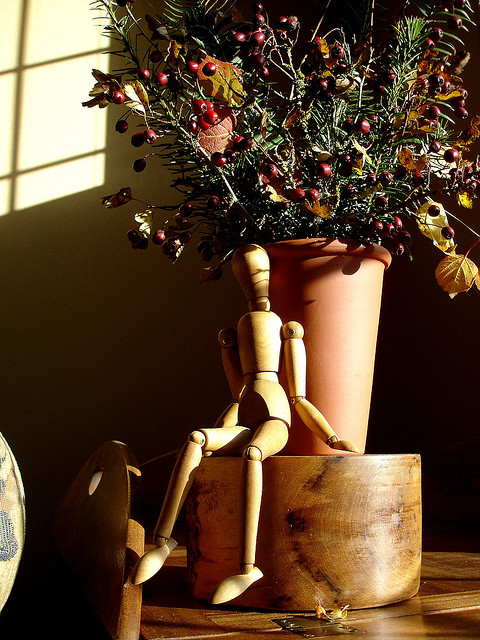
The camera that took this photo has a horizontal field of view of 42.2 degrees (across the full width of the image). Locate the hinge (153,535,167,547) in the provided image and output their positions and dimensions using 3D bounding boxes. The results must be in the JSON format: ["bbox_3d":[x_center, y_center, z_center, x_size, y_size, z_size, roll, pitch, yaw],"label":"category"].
[{"bbox_3d":[-0.061,0.166,0.470,0.009,0.009,0.006,6,52,-3],"label":"hinge"}]

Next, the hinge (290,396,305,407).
[{"bbox_3d":[0.054,0.073,0.565,0.010,0.010,0.006,-21,38,9],"label":"hinge"}]

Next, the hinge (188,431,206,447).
[{"bbox_3d":[-0.035,0.095,0.497,0.015,0.012,0.009,-1,-11,7],"label":"hinge"}]

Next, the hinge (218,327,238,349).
[{"bbox_3d":[-0.011,0.017,0.600,0.017,0.019,0.019,2,6,3],"label":"hinge"}]

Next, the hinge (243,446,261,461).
[{"bbox_3d":[0.011,0.101,0.476,0.009,0.011,0.009,2,50,29],"label":"hinge"}]

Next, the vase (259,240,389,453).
[{"bbox_3d":[0.091,0.024,0.616,0.136,0.202,0.065,1,-11,-6],"label":"vase"}]

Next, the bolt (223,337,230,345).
[{"bbox_3d":[-0.013,0.020,0.598,0.007,0.006,0.003,-6,-12,29],"label":"bolt"}]

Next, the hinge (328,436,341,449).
[{"bbox_3d":[0.082,0.104,0.540,0.010,0.011,0.009,-6,54,3],"label":"hinge"}]

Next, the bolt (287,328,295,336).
[{"bbox_3d":[0.047,0.011,0.570,0.007,0.006,0.002,15,1,14],"label":"bolt"}]

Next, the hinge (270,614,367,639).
[{"bbox_3d":[0.056,0.224,0.458,0.044,0.003,0.060,5,-12,-27],"label":"hinge"}]
